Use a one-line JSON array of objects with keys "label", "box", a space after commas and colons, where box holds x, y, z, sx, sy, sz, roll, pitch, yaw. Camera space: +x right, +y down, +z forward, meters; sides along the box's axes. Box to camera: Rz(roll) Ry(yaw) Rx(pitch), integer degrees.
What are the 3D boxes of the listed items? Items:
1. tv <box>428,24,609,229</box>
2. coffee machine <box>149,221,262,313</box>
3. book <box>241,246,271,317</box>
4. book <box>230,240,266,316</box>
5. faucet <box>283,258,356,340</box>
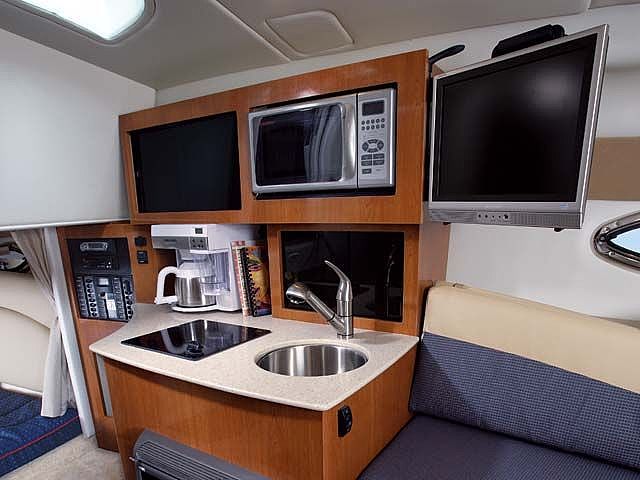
[{"label": "tv", "box": [0.703, -0.379, 1.700, 0.639, 0.672, 0.059, 1, 9, 37]}, {"label": "coffee machine", "box": [-0.621, 0.127, 2.589, 0.512, 0.514, 0.443, 6, 5, 38]}, {"label": "book", "box": [-0.342, 0.227, 2.495, 0.057, 0.378, 0.289, -5, -3, 13]}, {"label": "book", "box": [-0.372, 0.204, 2.458, 0.185, 0.409, 0.168, -10, 9, -35]}, {"label": "faucet", "box": [-0.002, 0.285, 2.006, 0.284, 0.348, 0.085, -7, 8, -19]}]
